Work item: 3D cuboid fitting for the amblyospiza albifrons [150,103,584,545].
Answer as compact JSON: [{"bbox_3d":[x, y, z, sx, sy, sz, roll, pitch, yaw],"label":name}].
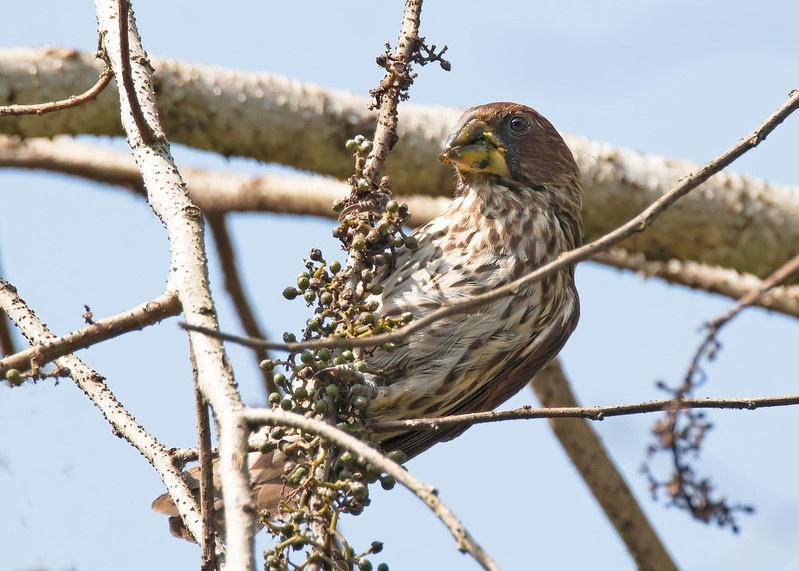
[{"bbox_3d":[-0.074,0.077,7.565,0.708,1.493,1.487,45,-50,5],"label":"amblyospiza albifrons"}]
